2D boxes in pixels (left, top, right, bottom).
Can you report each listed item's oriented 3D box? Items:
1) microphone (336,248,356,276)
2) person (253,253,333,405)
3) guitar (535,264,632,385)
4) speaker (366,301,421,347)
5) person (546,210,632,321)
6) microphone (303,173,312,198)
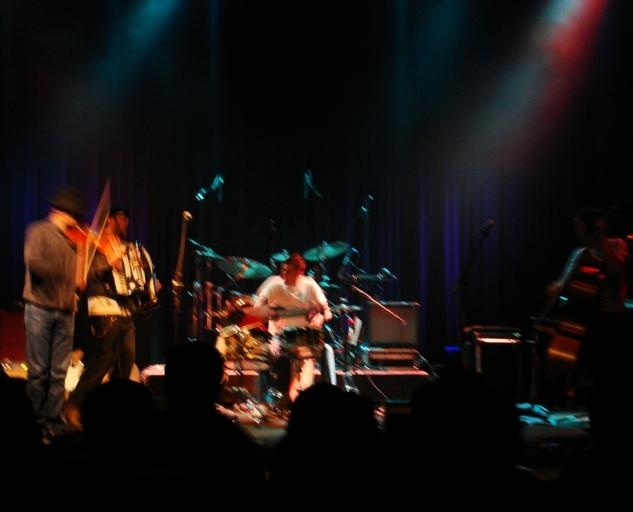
[{"bbox_3d":[0.394,0.062,7.719,0.075,0.352,0.204,17,-11,29],"label":"microphone"},{"bbox_3d":[-0.216,0.679,5.640,0.734,1.507,0.901,-7,-44,6],"label":"person"},{"bbox_3d":[2.313,0.547,5.448,0.452,1.665,0.829,7,-19,1],"label":"guitar"},{"bbox_3d":[0.724,0.699,6.290,0.658,0.638,0.360,0,-6,-4],"label":"speaker"},{"bbox_3d":[2.565,0.103,5.858,0.549,1.064,0.774,14,-15,-10],"label":"person"},{"bbox_3d":[-0.098,-0.900,7.863,0.096,0.317,0.203,1,-4,-2],"label":"microphone"}]
